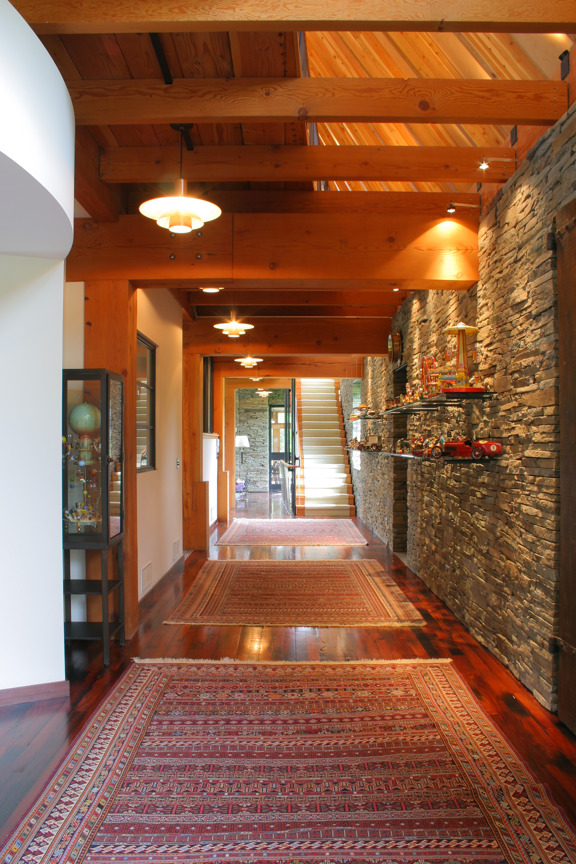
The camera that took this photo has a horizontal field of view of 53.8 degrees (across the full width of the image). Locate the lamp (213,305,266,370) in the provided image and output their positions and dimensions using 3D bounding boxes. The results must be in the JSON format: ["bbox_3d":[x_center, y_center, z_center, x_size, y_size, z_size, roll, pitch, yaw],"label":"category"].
[{"bbox_3d":[-0.586,-1.048,6.497,0.535,0.638,0.560,-1,8,3],"label":"lamp"}]

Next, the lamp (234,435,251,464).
[{"bbox_3d":[-1.291,0.481,16.441,0.448,0.884,1.036,0,-4,-4],"label":"lamp"}]
